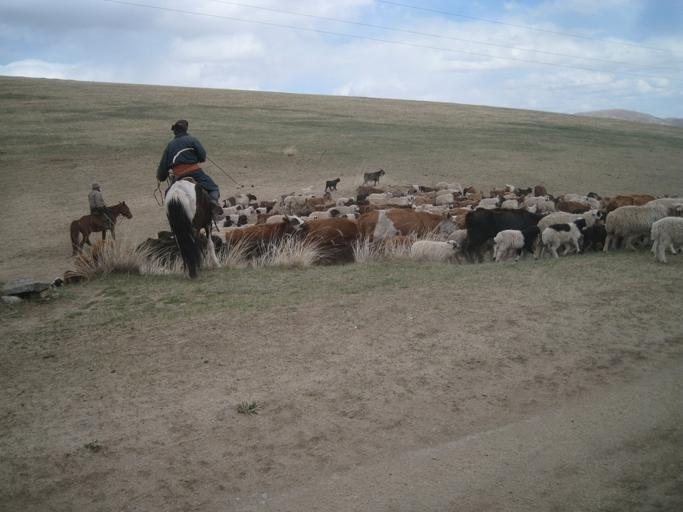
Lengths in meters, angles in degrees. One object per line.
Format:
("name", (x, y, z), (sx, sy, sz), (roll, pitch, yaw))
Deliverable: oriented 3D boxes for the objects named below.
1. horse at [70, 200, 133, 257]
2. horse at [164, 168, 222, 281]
("horse", (-7.479, -0.911, 15.985), (0.511, 1.311, 2.114), (0, 14, 38))
("horse", (-3.377, -0.700, 11.807), (0.677, 2.251, 1.363), (0, 9, 11))
